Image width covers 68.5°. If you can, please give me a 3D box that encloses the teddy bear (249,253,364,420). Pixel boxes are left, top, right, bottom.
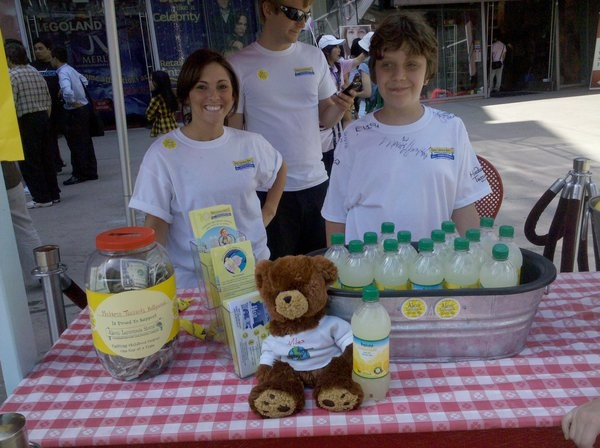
[{"bbox_3d":[0.019,0.298,1.442,0.410,0.528,0.416,-5,8,0],"label":"teddy bear"}]

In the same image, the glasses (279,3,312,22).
[{"bbox_3d":[-0.006,-1.301,2.735,0.102,0.100,0.255,9,22,36],"label":"glasses"}]

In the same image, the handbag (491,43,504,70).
[{"bbox_3d":[6.922,-5.948,15.546,0.414,0.920,0.906,5,19,26],"label":"handbag"}]

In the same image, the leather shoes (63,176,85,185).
[{"bbox_3d":[-3.911,-0.758,7.720,0.133,0.135,0.333,4,5,40],"label":"leather shoes"}]

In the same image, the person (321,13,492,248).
[{"bbox_3d":[0.507,-0.430,2.106,0.795,1.082,0.366,-7,17,-9],"label":"person"}]

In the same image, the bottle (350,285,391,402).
[{"bbox_3d":[0.208,0.373,1.295,0.108,0.306,0.077,-2,17,5],"label":"bottle"}]
